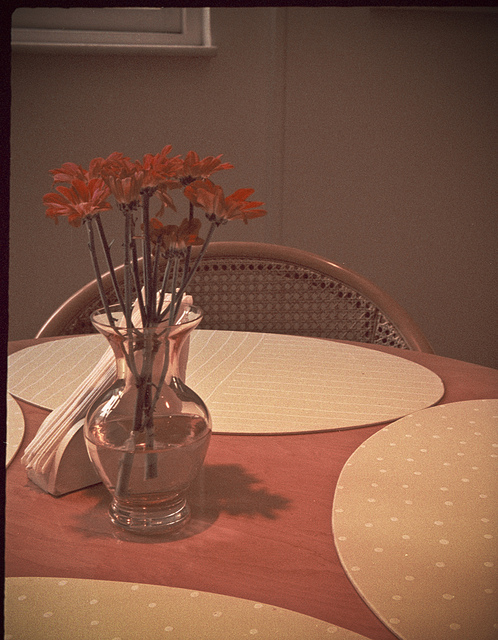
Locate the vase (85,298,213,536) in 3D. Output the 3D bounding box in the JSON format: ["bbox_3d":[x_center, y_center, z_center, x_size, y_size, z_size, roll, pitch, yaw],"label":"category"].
[{"bbox_3d":[-0.075,0.056,0.416,0.092,0.152,0.146,-2,11,-5],"label":"vase"}]

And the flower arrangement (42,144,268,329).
[{"bbox_3d":[-0.121,-0.092,0.612,0.125,0.127,0.649,-3,10,-12],"label":"flower arrangement"}]
